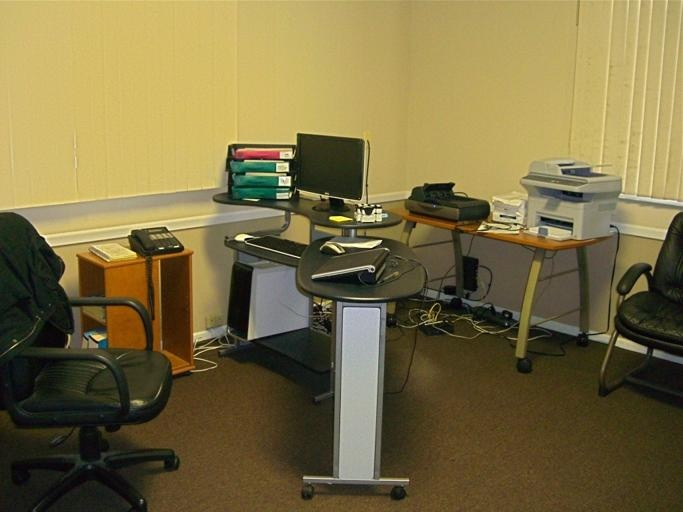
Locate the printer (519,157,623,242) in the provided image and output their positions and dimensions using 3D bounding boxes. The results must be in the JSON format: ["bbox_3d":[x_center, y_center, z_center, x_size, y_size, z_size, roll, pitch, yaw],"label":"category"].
[{"bbox_3d":[1.712,-0.476,4.351,0.666,0.622,0.590,-8,13,-33],"label":"printer"}]

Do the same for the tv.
[{"bbox_3d":[-0.093,-0.595,4.174,0.584,0.504,0.251,11,13,35],"label":"tv"}]

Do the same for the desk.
[{"bbox_3d":[0.098,0.366,3.375,2.015,0.850,2.000,-13,23,-40],"label":"desk"}]

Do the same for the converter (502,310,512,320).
[{"bbox_3d":[1.432,0.515,5.004,0.092,0.092,0.055,-1,5,23],"label":"converter"}]

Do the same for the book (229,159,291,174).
[{"bbox_3d":[-0.590,-0.652,4.200,0.425,0.092,0.048,0,21,0],"label":"book"}]

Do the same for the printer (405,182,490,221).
[{"bbox_3d":[0.823,-0.444,4.693,0.352,0.245,0.522,-7,16,-34],"label":"printer"}]

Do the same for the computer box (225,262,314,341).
[{"bbox_3d":[-0.554,0.299,4.356,0.686,0.668,0.409,-6,12,-36],"label":"computer box"}]

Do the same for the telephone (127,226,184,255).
[{"bbox_3d":[-1.251,-0.110,3.837,0.243,0.103,0.232,-11,30,-43],"label":"telephone"}]

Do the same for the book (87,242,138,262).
[{"bbox_3d":[-1.473,-0.032,3.714,0.156,0.049,0.209,-9,18,-42],"label":"book"}]

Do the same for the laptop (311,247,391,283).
[{"bbox_3d":[0.047,0.025,2.978,0.330,0.088,0.377,5,21,15],"label":"laptop"}]

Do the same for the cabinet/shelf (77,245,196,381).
[{"bbox_3d":[-1.398,0.307,4.205,0.919,1.232,0.664,-4,11,-37],"label":"cabinet/shelf"}]
